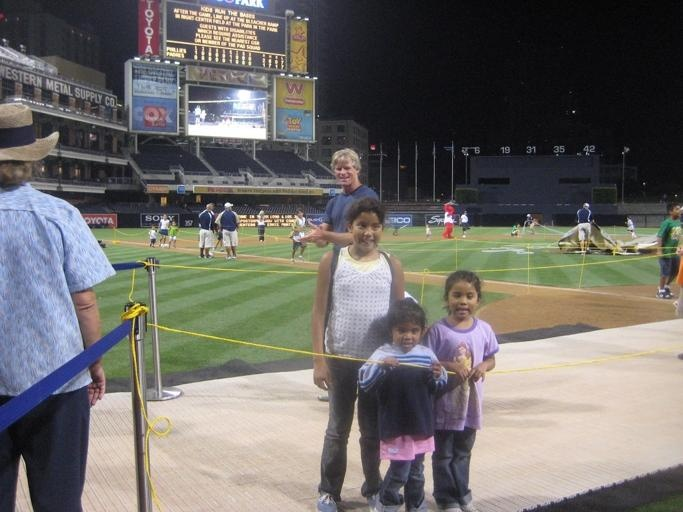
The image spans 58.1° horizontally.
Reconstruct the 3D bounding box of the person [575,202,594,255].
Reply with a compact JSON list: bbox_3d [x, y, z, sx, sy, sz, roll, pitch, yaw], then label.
[{"bbox_3d":[8.404,-0.920,21.318,0.489,1.717,1.033,2,7,20],"label":"person"}]

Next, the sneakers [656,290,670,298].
[{"bbox_3d":[6.383,0.765,12.220,0.110,0.132,0.282,0,-5,-3],"label":"sneakers"}]
